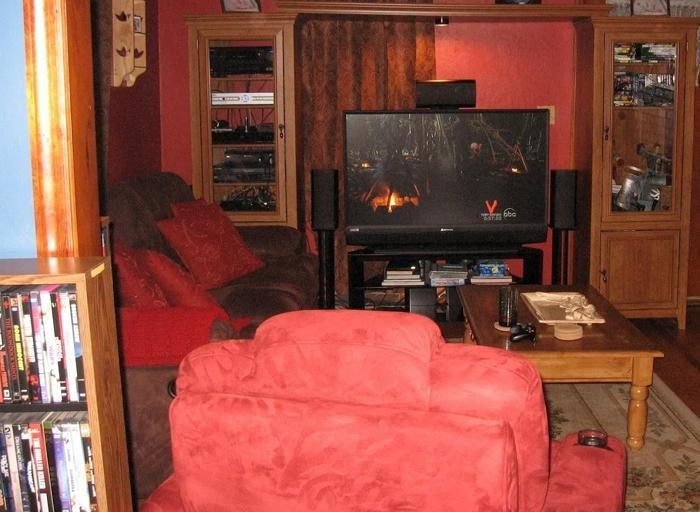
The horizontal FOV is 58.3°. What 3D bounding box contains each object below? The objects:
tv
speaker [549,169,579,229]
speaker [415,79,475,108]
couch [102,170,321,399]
[{"bbox_3d":[0.630,-0.528,4.159,0.984,0.673,0.135,0,3,2],"label":"tv"},{"bbox_3d":[1.437,-0.375,4.235,0.174,0.401,0.140,4,14,16],"label":"speaker"},{"bbox_3d":[0.641,-1.091,4.222,0.382,0.172,0.070,0,13,0],"label":"speaker"},{"bbox_3d":[-0.601,0.076,2.652,0.522,0.510,1.064,-1,11,-1],"label":"couch"}]
